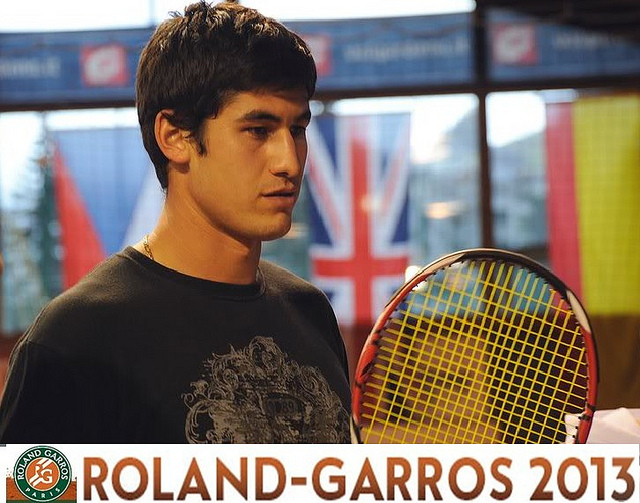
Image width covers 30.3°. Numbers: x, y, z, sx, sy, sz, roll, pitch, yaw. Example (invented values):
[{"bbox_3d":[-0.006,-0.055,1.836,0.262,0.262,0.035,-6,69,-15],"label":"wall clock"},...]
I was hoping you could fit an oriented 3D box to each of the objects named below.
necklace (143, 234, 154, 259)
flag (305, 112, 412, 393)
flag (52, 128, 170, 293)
[{"bbox_3d":[-0.742,-0.018,4.983,0.018,0.084,0.074,-7,-6,10],"label":"necklace"},{"bbox_3d":[0.259,-0.052,7.441,0.657,1.919,0.024,-1,37,2],"label":"flag"},{"bbox_3d":[-1.315,-0.254,7.182,0.775,0.925,0.016,-3,14,-17],"label":"flag"}]
